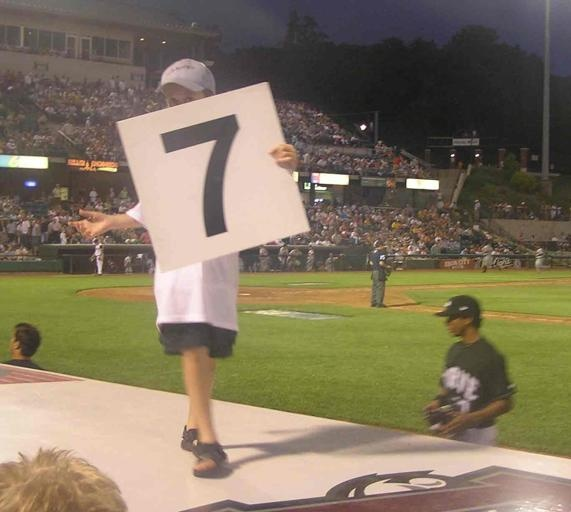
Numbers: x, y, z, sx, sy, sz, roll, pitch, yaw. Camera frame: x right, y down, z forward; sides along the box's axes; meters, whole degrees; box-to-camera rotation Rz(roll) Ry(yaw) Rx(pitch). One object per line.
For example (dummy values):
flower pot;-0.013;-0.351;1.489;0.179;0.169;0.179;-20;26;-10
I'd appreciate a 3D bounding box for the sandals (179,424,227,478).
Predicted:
sandals;-0.436;1.020;2.954;0.114;0.112;0.302;1;7;-34

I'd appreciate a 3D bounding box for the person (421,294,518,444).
person;1.149;0.696;3.575;0.542;0.894;0.343;-1;-4;26

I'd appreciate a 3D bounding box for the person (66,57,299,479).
person;-0.566;-0.105;3.207;1.037;2.397;1.037;2;-3;-19

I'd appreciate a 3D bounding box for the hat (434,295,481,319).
hat;1.134;0.327;3.644;0.243;0.111;0.162;2;-6;-2
